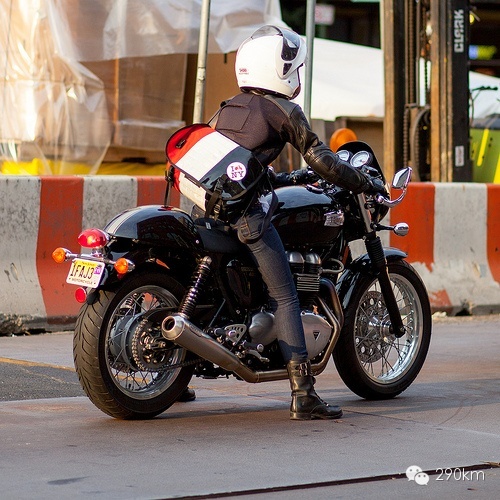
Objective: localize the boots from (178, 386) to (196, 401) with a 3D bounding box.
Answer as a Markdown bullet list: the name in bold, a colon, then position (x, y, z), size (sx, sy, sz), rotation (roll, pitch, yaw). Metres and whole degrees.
- **boots**: position (-0.391, 0.891, 6.218), size (0.071, 0.072, 0.168), rotation (5, 9, 19)

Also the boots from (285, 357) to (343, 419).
- **boots**: position (0.382, 0.808, 5.724), size (0.323, 0.342, 0.167), rotation (4, -16, -19)

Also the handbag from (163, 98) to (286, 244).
- **handbag**: position (-0.179, -0.421, 5.713), size (0.751, 0.480, 0.273), rotation (46, -1, 23)

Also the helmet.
- **helmet**: position (0.122, -1.065, 5.873), size (0.427, 0.391, 0.340), rotation (18, -11, -21)

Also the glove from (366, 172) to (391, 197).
- **glove**: position (0.764, -0.400, 6.054), size (0.101, 0.115, 0.202), rotation (-29, -20, 21)
